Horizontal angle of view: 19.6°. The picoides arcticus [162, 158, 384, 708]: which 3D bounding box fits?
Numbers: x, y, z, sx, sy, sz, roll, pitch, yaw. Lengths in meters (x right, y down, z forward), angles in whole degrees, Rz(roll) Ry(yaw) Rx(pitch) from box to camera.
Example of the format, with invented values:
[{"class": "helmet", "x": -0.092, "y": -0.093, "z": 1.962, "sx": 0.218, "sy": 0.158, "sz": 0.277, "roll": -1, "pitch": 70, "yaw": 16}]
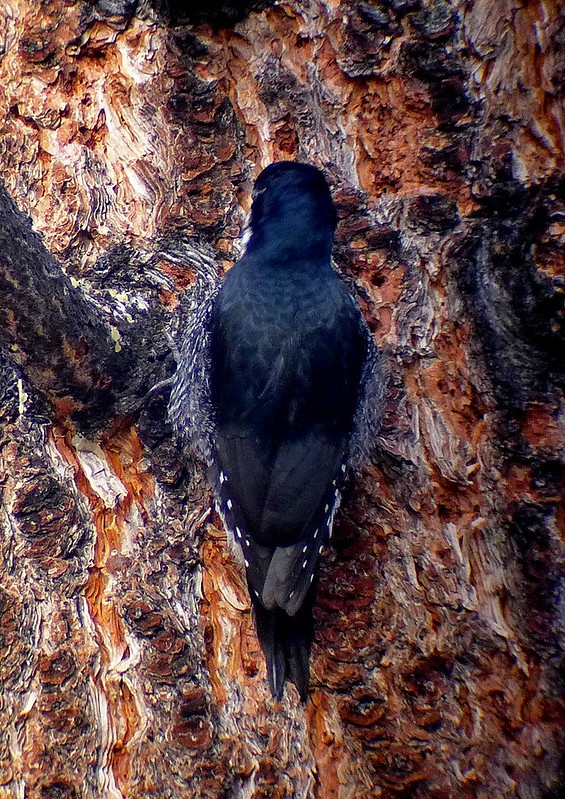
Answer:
[{"class": "picoides arcticus", "x": -0.004, "y": 0.051, "z": 4.732, "sx": 0.652, "sy": 1.532, "sz": 0.393, "roll": 19, "pitch": -3, "yaw": 10}]
